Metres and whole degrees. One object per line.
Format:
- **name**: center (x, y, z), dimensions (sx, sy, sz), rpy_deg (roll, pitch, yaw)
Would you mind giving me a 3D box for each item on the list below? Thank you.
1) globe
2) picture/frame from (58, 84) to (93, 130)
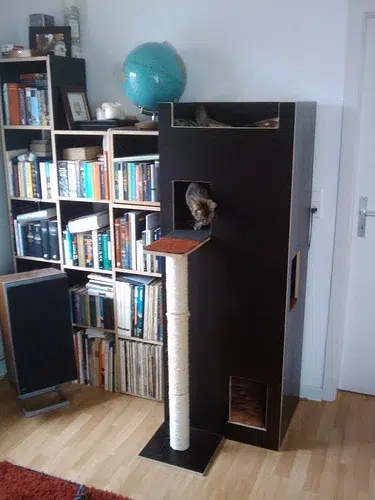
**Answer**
- **globe**: center (-0.154, -0.815, 2.153), dimensions (0.382, 0.462, 0.383), rpy_deg (18, 29, 29)
- **picture/frame**: center (-0.625, -0.777, 2.354), dimensions (0.019, 0.265, 0.265), rpy_deg (-5, 16, 28)
